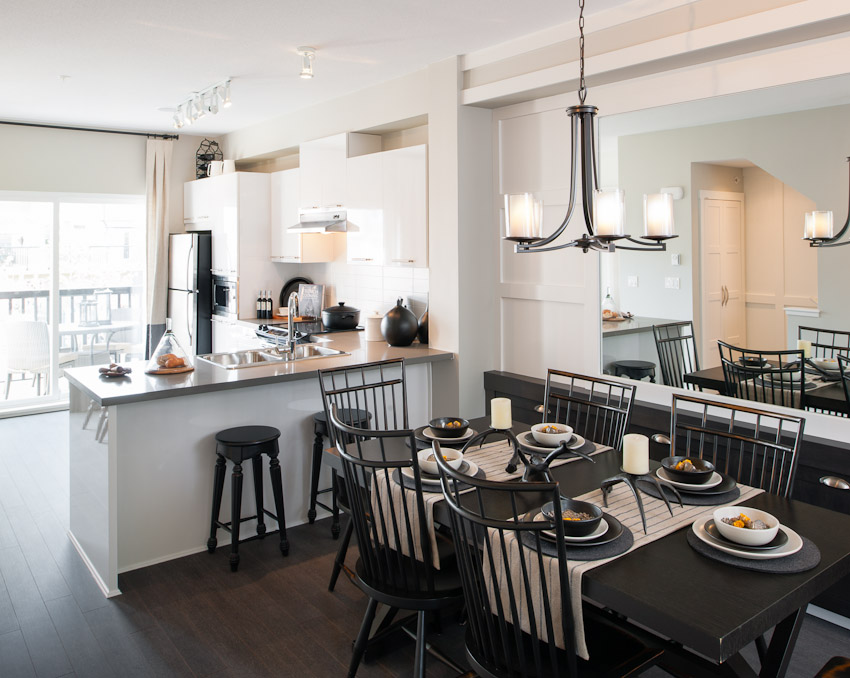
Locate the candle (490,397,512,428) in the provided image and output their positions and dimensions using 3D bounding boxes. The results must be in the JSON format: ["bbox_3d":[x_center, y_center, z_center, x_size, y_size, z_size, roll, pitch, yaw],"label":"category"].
[{"bbox_3d":[0.325,0.328,2.726,0.117,0.136,0.119,-1,0,4],"label":"candle"}]

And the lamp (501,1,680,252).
[{"bbox_3d":[0.772,-1.001,2.540,0.579,1.226,1.296,4,11,22],"label":"lamp"}]

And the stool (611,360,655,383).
[{"bbox_3d":[1.267,0.172,3.630,0.133,0.151,0.135,-3,6,-25],"label":"stool"}]

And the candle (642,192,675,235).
[{"bbox_3d":[0.812,-0.423,2.082,0.120,0.153,0.084,-10,14,-43],"label":"candle"}]

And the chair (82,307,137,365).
[{"bbox_3d":[-3.585,-0.026,6.959,0.554,0.728,0.518,3,0,13],"label":"chair"}]

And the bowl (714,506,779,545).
[{"bbox_3d":[1.033,0.589,1.938,0.122,0.050,0.125,0,3,0],"label":"bowl"}]

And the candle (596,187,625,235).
[{"bbox_3d":[0.631,-0.423,2.048,0.104,0.159,0.104,-1,10,-2],"label":"candle"}]

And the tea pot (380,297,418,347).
[{"bbox_3d":[-0.127,-0.123,4.582,0.302,0.423,0.310,0,0,0],"label":"tea pot"}]

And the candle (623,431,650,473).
[{"bbox_3d":[0.788,0.427,2.313,0.122,0.144,0.125,0,1,4],"label":"candle"}]

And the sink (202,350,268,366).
[{"bbox_3d":[-1.394,0.134,4.452,0.274,0.119,0.220,0,4,-39],"label":"sink"}]

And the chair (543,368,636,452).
[{"bbox_3d":[0.917,0.376,3.289,0.233,0.423,0.433,-1,6,-27],"label":"chair"}]

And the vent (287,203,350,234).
[{"bbox_3d":[-0.950,-1.042,5.270,0.364,0.220,0.726,-5,11,-25],"label":"vent"}]

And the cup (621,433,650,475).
[{"bbox_3d":[0.788,0.419,2.249,0.125,0.148,0.129,0,1,0],"label":"cup"}]

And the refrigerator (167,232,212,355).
[{"bbox_3d":[-2.591,-0.530,6.697,0.315,1.286,0.676,-8,13,-38],"label":"refrigerator"}]

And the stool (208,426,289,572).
[{"bbox_3d":[-1.027,0.869,3.471,0.464,0.716,0.458,-4,11,-20],"label":"stool"}]

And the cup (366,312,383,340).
[{"bbox_3d":[-0.403,-0.097,4.903,0.172,0.197,0.173,0,6,0],"label":"cup"}]

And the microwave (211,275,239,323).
[{"bbox_3d":[-2.075,-0.430,6.283,0.288,0.416,0.482,0,3,-38],"label":"microwave"}]

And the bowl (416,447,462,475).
[{"bbox_3d":[0.054,0.456,2.274,0.159,0.064,0.164,0,0,0],"label":"bowl"}]

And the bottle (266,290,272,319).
[{"bbox_3d":[-1.588,-0.355,6.194,0.059,0.250,0.256,-3,11,-13],"label":"bottle"}]

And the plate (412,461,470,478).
[{"bbox_3d":[0.049,0.465,2.180,0.136,0.047,0.139,0,1,1],"label":"plate"}]

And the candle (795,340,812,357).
[{"bbox_3d":[1.847,0.038,2.950,0.064,0.076,0.065,1,-1,23],"label":"candle"}]

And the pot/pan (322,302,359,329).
[{"bbox_3d":[-0.760,-0.184,5.456,0.230,0.181,0.263,2,-4,-39],"label":"pot/pan"}]

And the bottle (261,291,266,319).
[{"bbox_3d":[-1.618,-0.316,6.085,0.044,0.201,0.068,-1,10,-2],"label":"bottle"}]

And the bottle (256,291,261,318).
[{"bbox_3d":[-1.684,-0.341,6.132,0.063,0.247,0.181,-3,11,-16],"label":"bottle"}]
